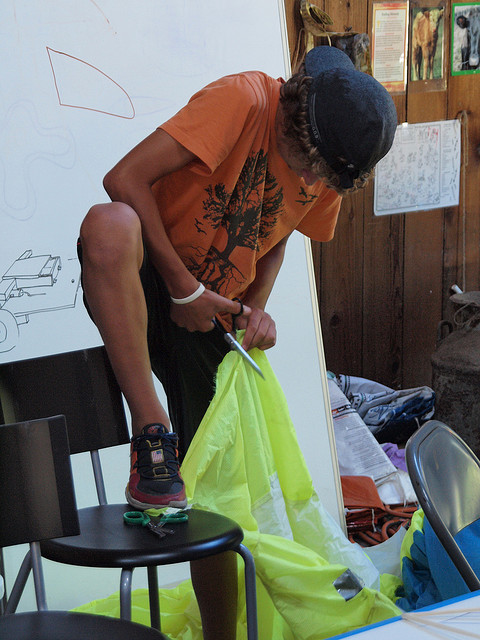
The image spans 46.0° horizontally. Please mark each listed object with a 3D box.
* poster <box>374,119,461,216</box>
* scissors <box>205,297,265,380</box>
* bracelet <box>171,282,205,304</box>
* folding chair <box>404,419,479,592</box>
[{"bbox_3d":[0.818,-0.707,2.555,0.448,0.403,0.035,-10,19,-27],"label":"poster"},{"bbox_3d":[-0.007,0.035,1.054,0.083,0.031,0.222,-27,38,-14],"label":"scissors"},{"bbox_3d":[-0.100,-0.043,1.017,0.038,0.012,0.041,-25,-14,-6],"label":"bracelet"},{"bbox_3d":[0.316,0.274,0.849,0.116,0.211,0.273,-6,6,15],"label":"folding chair"}]
